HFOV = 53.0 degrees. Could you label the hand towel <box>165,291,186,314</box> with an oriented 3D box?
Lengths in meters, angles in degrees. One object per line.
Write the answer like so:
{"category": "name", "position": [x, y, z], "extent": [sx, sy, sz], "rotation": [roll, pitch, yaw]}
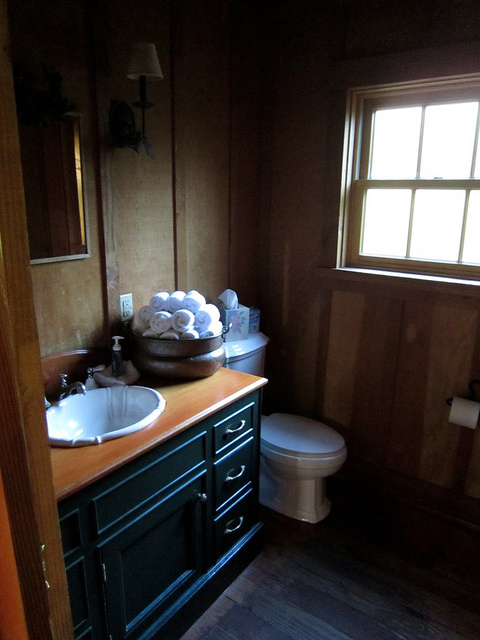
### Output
{"category": "hand towel", "position": [-0.241, -0.082, 1.802], "extent": [0.056, 0.080, 0.082], "rotation": [-5, 13, 4]}

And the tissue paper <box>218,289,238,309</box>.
{"category": "tissue paper", "position": [-0.053, -0.091, 2.227], "extent": [0.063, 0.082, 0.085], "rotation": [20, -2, -6]}

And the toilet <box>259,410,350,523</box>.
{"category": "toilet", "position": [0.252, 0.698, 2.327], "extent": [0.487, 0.428, 0.312], "rotation": [11, 22, 37]}

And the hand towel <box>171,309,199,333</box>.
{"category": "hand towel", "position": [-0.199, 0.006, 1.756], "extent": [0.071, 0.082, 0.073], "rotation": [28, 11, 7]}

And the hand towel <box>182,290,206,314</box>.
{"category": "hand towel", "position": [-0.179, -0.077, 1.797], "extent": [0.056, 0.080, 0.084], "rotation": [-7, 14, 2]}

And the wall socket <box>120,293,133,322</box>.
{"category": "wall socket", "position": [-0.451, -0.049, 1.907], "extent": [0.008, 0.112, 0.069], "rotation": [8, 15, 31]}

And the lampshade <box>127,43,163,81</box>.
{"category": "lampshade", "position": [-0.300, -0.825, 1.555], "extent": [0.098, 0.124, 0.115], "rotation": [2, 8, 6]}

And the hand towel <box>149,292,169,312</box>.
{"category": "hand towel", "position": [-0.298, -0.067, 1.814], "extent": [0.049, 0.052, 0.108], "rotation": [-21, -5, 12]}

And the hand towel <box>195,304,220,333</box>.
{"category": "hand towel", "position": [-0.127, -0.021, 1.795], "extent": [0.056, 0.082, 0.145], "rotation": [-18, -4, 15]}
